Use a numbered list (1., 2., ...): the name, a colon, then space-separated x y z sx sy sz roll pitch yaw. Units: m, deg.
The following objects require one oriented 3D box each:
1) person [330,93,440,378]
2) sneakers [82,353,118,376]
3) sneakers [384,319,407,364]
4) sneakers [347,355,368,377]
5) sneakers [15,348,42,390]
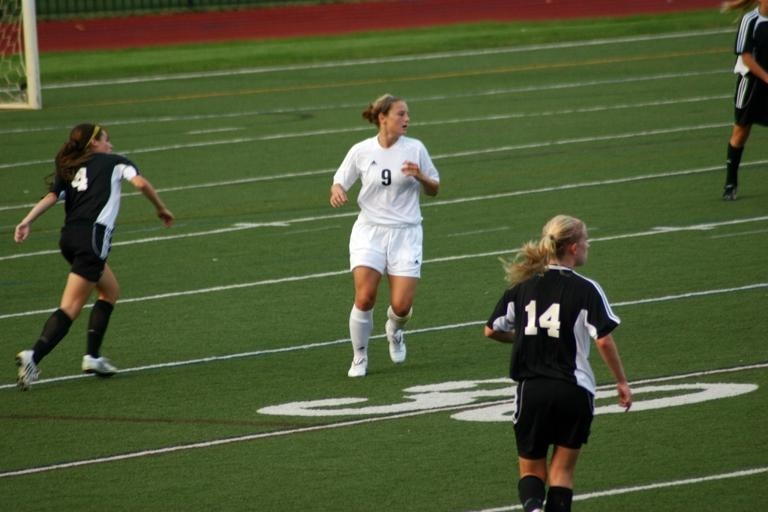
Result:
1. person: 0.025 -0.276 20.212 1.275 3.468 1.270 3 16 11
2. sneakers: -3.705 1.421 20.209 0.491 0.196 0.203 7 8 -35
3. sneakers: 0.215 1.114 20.405 0.246 0.584 0.272 -14 17 -21
4. sneakers: -0.336 1.402 20.165 0.259 0.247 0.331 0 14 -1
5. sneakers: -4.473 1.445 19.753 0.247 0.508 0.224 -3 16 -10
